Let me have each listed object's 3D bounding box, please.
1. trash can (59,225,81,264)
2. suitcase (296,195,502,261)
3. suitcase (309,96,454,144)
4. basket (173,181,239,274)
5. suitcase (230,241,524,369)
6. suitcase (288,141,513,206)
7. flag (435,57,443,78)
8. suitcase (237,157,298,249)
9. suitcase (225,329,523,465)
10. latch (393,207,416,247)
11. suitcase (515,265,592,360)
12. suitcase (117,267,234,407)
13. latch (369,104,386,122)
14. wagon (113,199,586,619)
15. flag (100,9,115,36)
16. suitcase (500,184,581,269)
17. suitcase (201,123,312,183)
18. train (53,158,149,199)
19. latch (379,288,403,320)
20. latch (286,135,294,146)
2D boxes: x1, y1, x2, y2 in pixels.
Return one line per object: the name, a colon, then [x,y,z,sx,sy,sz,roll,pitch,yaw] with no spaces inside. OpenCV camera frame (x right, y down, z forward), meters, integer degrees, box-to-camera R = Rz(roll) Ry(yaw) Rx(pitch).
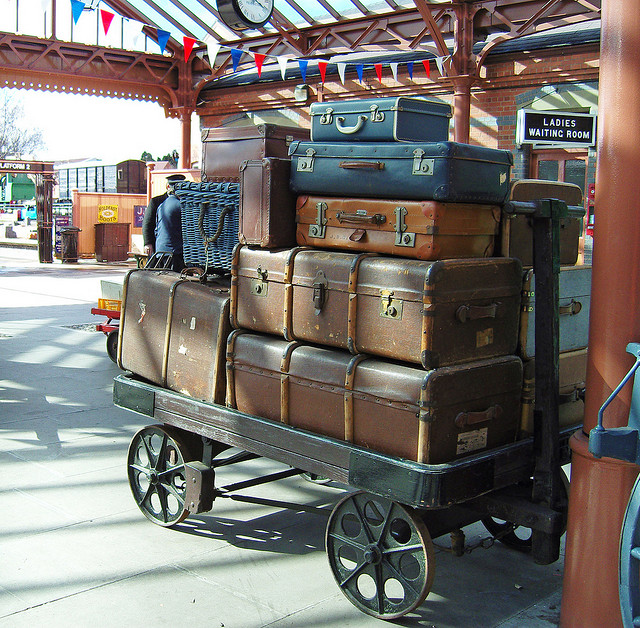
trash can: [-8.826,-2.446,23.369,0.621,1.319,0.829,-1,7,-20]
suitcase: [0.415,-0.415,3.190,0.545,0.356,0.887,-9,12,-42]
suitcase: [0.419,-0.971,3.382,0.502,0.183,0.449,6,10,37]
basket: [-0.661,-0.534,4.156,0.551,0.539,0.650,0,3,6]
suitcase: [0.245,-0.098,3.398,0.729,0.474,1.397,-6,12,-42]
suitcase: [0.324,-0.692,3.193,1.019,0.315,0.474,5,7,26]
flag: [2.416,-5.011,13.339,0.088,0.297,0.229,3,20,13]
suitcase: [-0.315,-0.582,3.531,0.295,0.493,0.291,-10,15,-36]
suitcase: [0.195,0.356,3.370,1.324,0.410,0.664,8,10,42]
latch: [0.383,-0.395,2.978,0.046,0.204,0.160,-11,16,-35]
suitcase: [1.478,0.007,3.533,0.446,0.462,0.683,3,-5,-12]
suitcase: [-0.809,0.115,4.193,0.400,0.733,1.095,-4,12,-45]
latch: [0.280,-0.975,3.202,0.095,0.085,0.026,9,6,38]
wagon: [0.228,0.454,4.084,2.004,2.258,2.885,8,13,40]
flag: [-3.385,-4.614,10.498,0.163,0.394,0.460,0,7,-18]
suitcase: [1.101,-0.494,3.689,0.732,0.467,0.435,-5,7,-43]
suitcase: [-0.469,-1.023,4.069,0.459,0.428,0.699,-15,15,-33]
train: [-13.223,-7.917,38.848,2.961,2.013,9.308,-3,8,-37]
latch: [0.313,-0.045,2.877,0.055,0.141,0.141,2,1,-39]
latch: [-0.179,-1.039,3.951,0.020,0.068,0.074,2,9,43]
